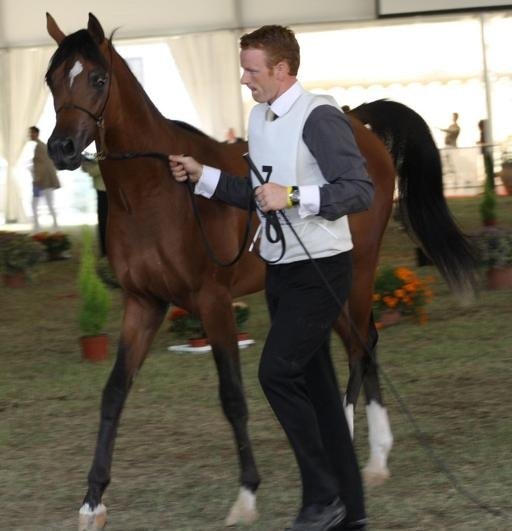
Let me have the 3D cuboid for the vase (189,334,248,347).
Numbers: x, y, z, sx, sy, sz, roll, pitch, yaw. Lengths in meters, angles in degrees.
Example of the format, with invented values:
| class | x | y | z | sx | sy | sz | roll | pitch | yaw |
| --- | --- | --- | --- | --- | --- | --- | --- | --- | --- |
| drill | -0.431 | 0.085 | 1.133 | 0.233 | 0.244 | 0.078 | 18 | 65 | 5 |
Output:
| class | x | y | z | sx | sy | sz | roll | pitch | yaw |
| --- | --- | --- | --- | --- | --- | --- | --- | --- | --- |
| vase | -0.352 | 0.668 | 5.514 | 0.374 | 0.070 | 0.217 | -1 | 3 | -2 |

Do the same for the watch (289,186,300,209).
| class | x | y | z | sx | sy | sz | roll | pitch | yaw |
| --- | --- | --- | --- | --- | --- | --- | --- | --- | --- |
| watch | 0.111 | -0.208 | 1.849 | 0.032 | 0.060 | 0.048 | -6 | 5 | -9 |

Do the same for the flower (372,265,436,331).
| class | x | y | z | sx | sy | sz | roll | pitch | yaw |
| --- | --- | --- | --- | --- | --- | --- | --- | --- | --- |
| flower | 1.475 | 0.299 | 6.107 | 0.680 | 0.618 | 0.640 | -4 | -3 | 33 |

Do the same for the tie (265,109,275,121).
| class | x | y | z | sx | sy | sz | roll | pitch | yaw |
| --- | --- | --- | --- | --- | --- | --- | --- | --- | --- |
| tie | 0.046 | -0.488 | 2.024 | 0.033 | 0.031 | 0.039 | 1 | 7 | -1 |
